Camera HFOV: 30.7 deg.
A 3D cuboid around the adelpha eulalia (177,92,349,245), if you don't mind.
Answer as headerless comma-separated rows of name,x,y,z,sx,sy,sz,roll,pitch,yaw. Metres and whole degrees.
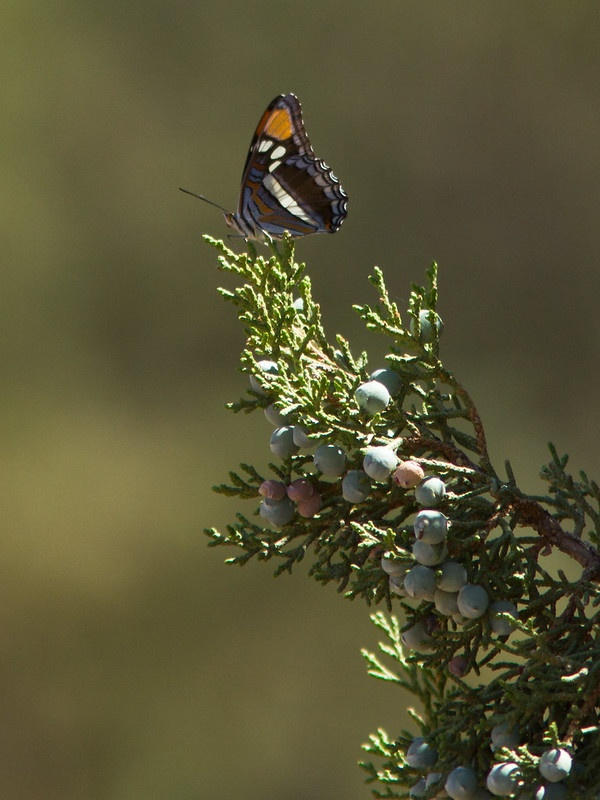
adelpha eulalia,-0.074,-0.341,1.646,0.249,0.169,0.208,-6,-84,-18
